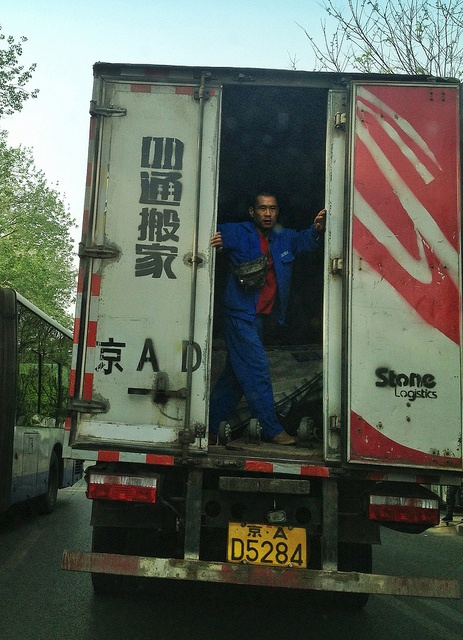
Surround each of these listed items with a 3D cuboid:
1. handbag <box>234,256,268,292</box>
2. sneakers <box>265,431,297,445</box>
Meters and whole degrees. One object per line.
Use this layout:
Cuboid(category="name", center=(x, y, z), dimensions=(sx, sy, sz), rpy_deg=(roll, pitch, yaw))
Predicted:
Cuboid(category="handbag", center=(0.173, -0.384, 5.561), dimensions=(0.280, 0.268, 0.109), rpy_deg=(-9, 3, -11))
Cuboid(category="sneakers", center=(0.403, 0.927, 5.253), dimensions=(0.240, 0.152, 0.085), rpy_deg=(-4, -9, 12))
